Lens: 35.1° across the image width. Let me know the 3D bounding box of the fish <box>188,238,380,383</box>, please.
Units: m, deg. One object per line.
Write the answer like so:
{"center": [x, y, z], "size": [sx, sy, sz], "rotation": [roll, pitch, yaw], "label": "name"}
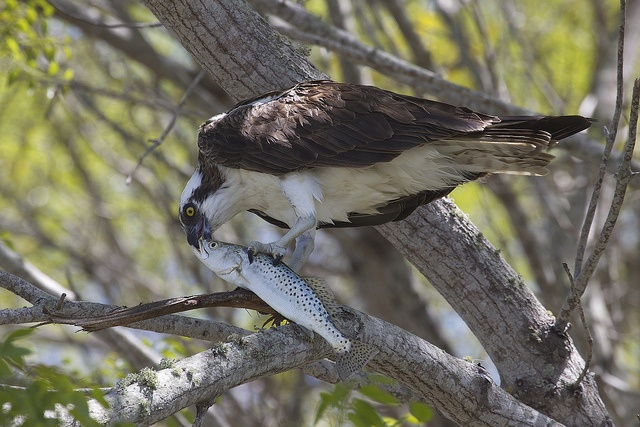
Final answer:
{"center": [-0.340, 0.773, 9.791], "size": [2.162, 0.758, 0.412], "rotation": [36, 27, 16], "label": "fish"}
